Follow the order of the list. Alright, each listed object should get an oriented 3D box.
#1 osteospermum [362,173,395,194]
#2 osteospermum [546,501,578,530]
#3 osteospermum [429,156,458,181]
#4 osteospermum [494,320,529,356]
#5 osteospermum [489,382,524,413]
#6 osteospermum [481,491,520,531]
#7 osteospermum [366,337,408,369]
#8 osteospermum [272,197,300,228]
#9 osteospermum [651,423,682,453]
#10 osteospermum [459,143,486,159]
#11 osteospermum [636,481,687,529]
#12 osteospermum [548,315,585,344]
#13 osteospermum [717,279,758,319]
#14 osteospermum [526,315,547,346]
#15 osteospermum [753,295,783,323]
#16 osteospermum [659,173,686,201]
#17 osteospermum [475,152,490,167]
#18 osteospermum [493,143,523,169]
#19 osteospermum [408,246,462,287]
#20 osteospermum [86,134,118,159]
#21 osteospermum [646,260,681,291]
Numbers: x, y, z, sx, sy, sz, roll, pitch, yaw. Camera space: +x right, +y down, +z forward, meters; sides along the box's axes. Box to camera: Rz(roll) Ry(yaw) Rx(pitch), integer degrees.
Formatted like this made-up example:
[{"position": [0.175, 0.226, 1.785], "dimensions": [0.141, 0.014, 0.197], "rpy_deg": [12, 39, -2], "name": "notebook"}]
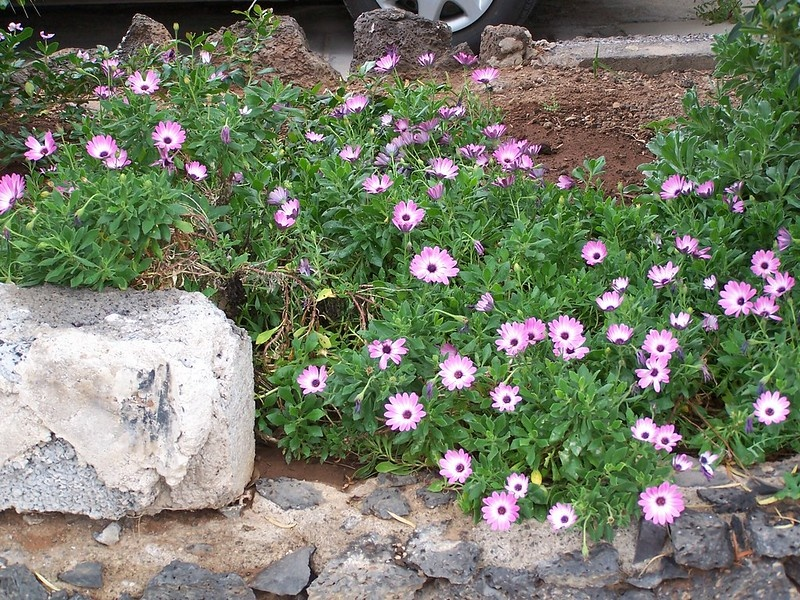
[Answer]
[{"position": [-0.099, -0.524, 3.708], "dimensions": [0.100, 0.053, 0.108], "rpy_deg": [-29, 63, -16], "name": "osteospermum"}, {"position": [0.618, 0.828, 3.014], "dimensions": [0.102, 0.097, 0.106], "rpy_deg": [15, 46, 16], "name": "osteospermum"}, {"position": [0.213, -0.635, 3.915], "dimensions": [0.105, 0.060, 0.130], "rpy_deg": [-6, 66, -1], "name": "osteospermum"}, {"position": [0.457, 0.160, 3.221], "dimensions": [0.116, 0.060, 0.146], "rpy_deg": [10, 91, 19], "name": "osteospermum"}, {"position": [0.422, 0.390, 3.160], "dimensions": [0.122, 0.115, 0.107], "rpy_deg": [3, 43, 4], "name": "osteospermum"}, {"position": [0.379, 0.803, 3.027], "dimensions": [0.129, 0.062, 0.158], "rpy_deg": [-15, 73, 0], "name": "osteospermum"}, {"position": [-0.058, 0.214, 3.245], "dimensions": [0.118, 0.033, 0.135], "rpy_deg": [-21, 52, -5], "name": "osteospermum"}, {"position": [-0.542, -0.411, 3.773], "dimensions": [0.107, 0.134, 0.227], "rpy_deg": [-4, 45, -3], "name": "osteospermum"}, {"position": [1.023, 0.556, 3.093], "dimensions": [0.104, 0.050, 0.132], "rpy_deg": [-2, 81, -2], "name": "osteospermum"}, {"position": [0.382, -0.763, 4.115], "dimensions": [0.091, 0.059, 0.097], "rpy_deg": [-7, 4, -27], "name": "osteospermum"}, {"position": [0.963, 0.737, 2.928], "dimensions": [0.155, 0.074, 0.154], "rpy_deg": [-12, 7, -28], "name": "osteospermum"}, {"position": [0.679, 0.160, 3.263], "dimensions": [0.141, 0.132, 0.138], "rpy_deg": [6, 44, 8], "name": "osteospermum"}, {"position": [1.400, -0.002, 3.293], "dimensions": [0.133, 0.071, 0.164], "rpy_deg": [-8, 76, 28], "name": "osteospermum"}, {"position": [0.549, 0.128, 3.220], "dimensions": [0.086, 0.048, 0.103], "rpy_deg": [20, 87, -13], "name": "osteospermum"}, {"position": [1.511, 0.036, 3.258], "dimensions": [0.096, 0.054, 0.119], "rpy_deg": [4, 69, 0], "name": "osteospermum"}, {"position": [1.289, -0.522, 3.716], "dimensions": [0.119, 0.119, 0.094], "rpy_deg": [-8, 43, -7], "name": "osteospermum"}, {"position": [0.418, -0.716, 4.109], "dimensions": [0.085, 0.045, 0.105], "rpy_deg": [-6, 81, 29], "name": "osteospermum"}, {"position": [0.532, -0.716, 3.933], "dimensions": [0.113, 0.062, 0.138], "rpy_deg": [16, 84, 10], "name": "osteospermum"}, {"position": [0.135, -0.140, 3.433], "dimensions": [0.155, 0.069, 0.187], "rpy_deg": [-11, 72, 1], "name": "osteospermum"}, {"position": [-1.386, -0.703, 3.650], "dimensions": [0.108, 0.062, 0.122], "rpy_deg": [-29, 87, -21], "name": "osteospermum"}, {"position": [1.128, -0.113, 3.410], "dimensions": [0.103, 0.056, 0.122], "rpy_deg": [-20, 55, 18], "name": "osteospermum"}]
